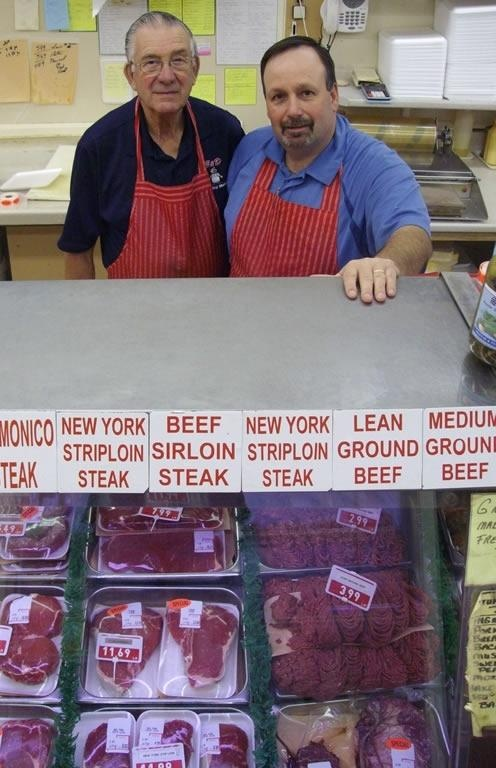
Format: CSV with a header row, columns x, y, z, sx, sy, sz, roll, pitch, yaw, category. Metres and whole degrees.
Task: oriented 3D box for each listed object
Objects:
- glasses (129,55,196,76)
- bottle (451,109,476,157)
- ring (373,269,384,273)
x,y,z,sx,sy,sz,roll,pitch,yaw,category
-0.224,-0.856,1.533,0.173,0.046,0.099,-4,26,-6,glasses
1.157,-1.359,3.087,0.104,0.228,0.169,8,25,19,bottle
0.210,-0.182,0.919,0.015,0.003,0.031,6,27,13,ring
